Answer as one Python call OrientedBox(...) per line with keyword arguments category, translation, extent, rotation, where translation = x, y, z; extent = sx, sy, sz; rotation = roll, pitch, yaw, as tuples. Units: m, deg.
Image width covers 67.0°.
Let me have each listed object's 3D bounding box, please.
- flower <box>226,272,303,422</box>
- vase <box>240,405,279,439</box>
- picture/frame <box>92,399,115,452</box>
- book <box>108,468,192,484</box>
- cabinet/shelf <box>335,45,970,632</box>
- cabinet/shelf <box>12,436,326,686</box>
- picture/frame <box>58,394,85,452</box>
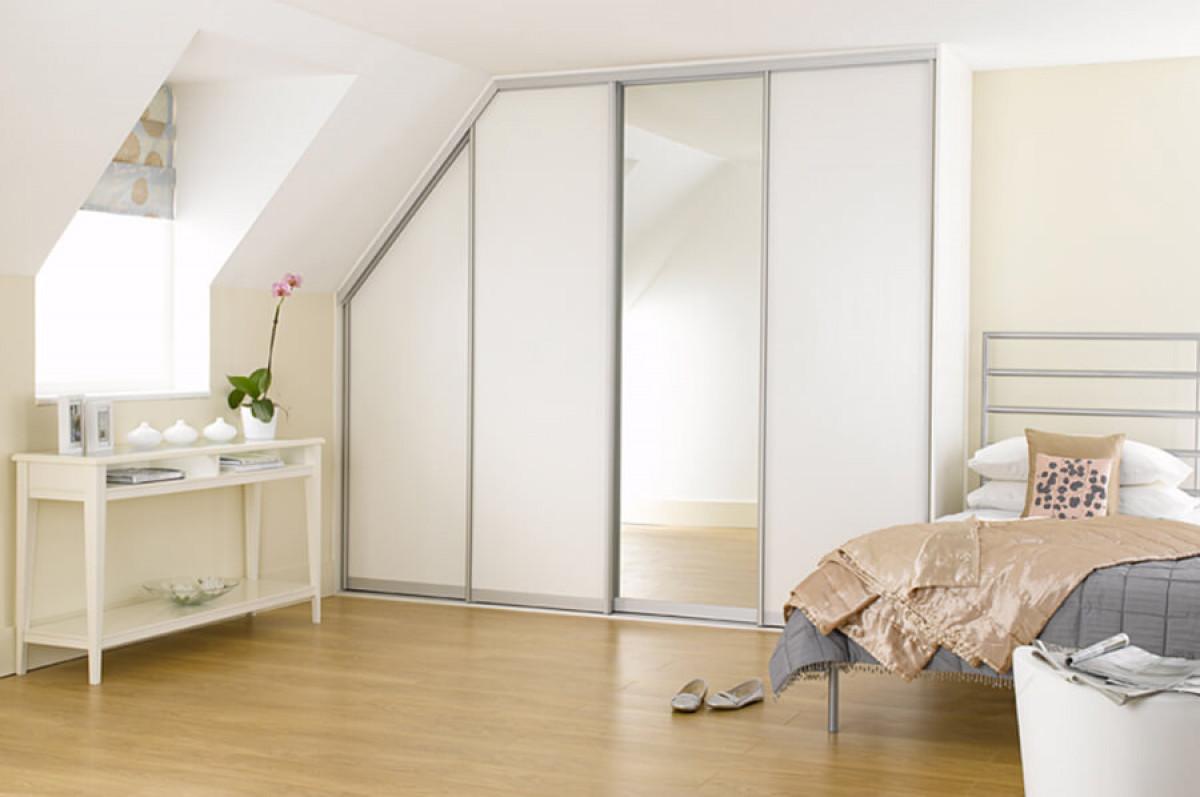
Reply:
OrientedBox(category="flower", translation=(-1.977, -0.255, 5.260), extent=(0.351, 0.778, 0.498), rotation=(-1, 5, -12))
OrientedBox(category="vase", translation=(-1.961, 0.144, 5.135), extent=(0.214, 0.140, 0.183), rotation=(-1, -3, 13))
OrientedBox(category="picture/frame", translation=(-2.385, 0.126, 4.324), extent=(0.047, 0.246, 0.118), rotation=(3, 5, 24))
OrientedBox(category="book", translation=(-2.236, 0.382, 4.435), extent=(0.360, 0.057, 0.252), rotation=(-3, 5, -38))
OrientedBox(category="cabinet/shelf", translation=(0.415, -0.408, 5.129), extent=(3.512, 2.749, 1.129), rotation=(-1, -4, 20))
OrientedBox(category="cabinet/shelf", translation=(-2.237, 0.833, 4.598), extent=(0.412, 0.800, 1.225), rotation=(0, 1, 25))
OrientedBox(category="picture/frame", translation=(-2.479, 0.123, 4.256), extent=(0.060, 0.271, 0.119), rotation=(3, 6, 31))
